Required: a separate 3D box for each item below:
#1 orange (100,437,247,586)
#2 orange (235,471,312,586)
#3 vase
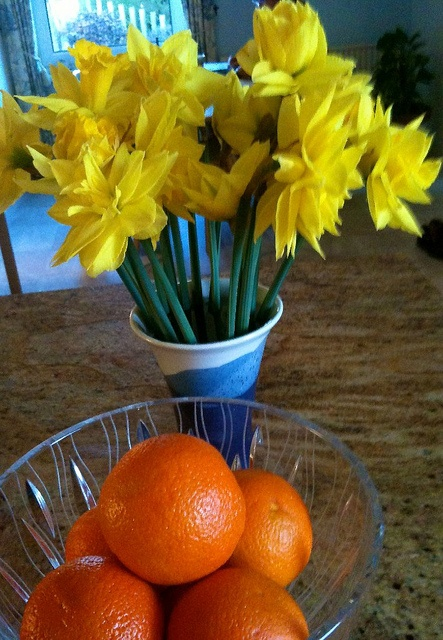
[{"bbox_3d":[-0.024,0.097,0.313,0.073,0.075,0.084,7,-1,-3],"label":"orange"},{"bbox_3d":[0.028,0.111,0.300,0.056,0.066,0.057,0,-12,-1],"label":"orange"},{"bbox_3d":[-0.002,0.049,0.508,0.137,0.156,0.124,-25,33,-36],"label":"vase"}]
